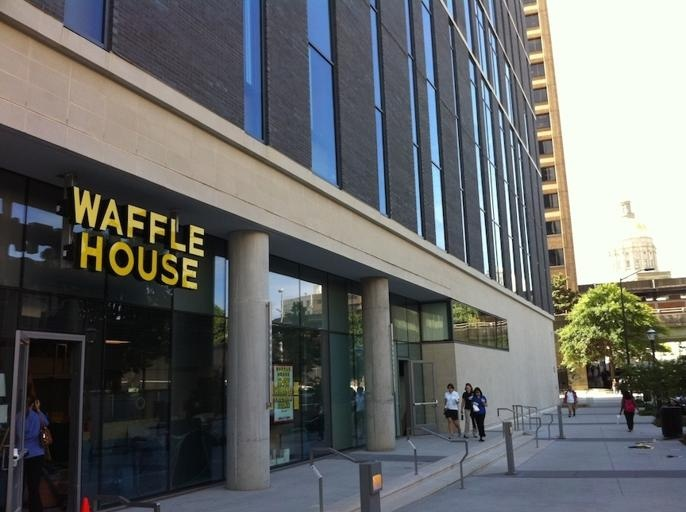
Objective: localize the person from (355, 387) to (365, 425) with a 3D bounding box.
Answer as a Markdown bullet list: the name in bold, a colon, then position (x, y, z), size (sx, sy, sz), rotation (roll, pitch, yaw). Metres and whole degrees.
- **person**: position (0.651, 5.511, 21.206), size (0.213, 1.387, 0.730), rotation (-10, -14, 20)

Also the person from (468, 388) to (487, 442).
- **person**: position (5.316, 6.148, 22.363), size (0.564, 1.969, 1.232), rotation (-8, -13, 11)
